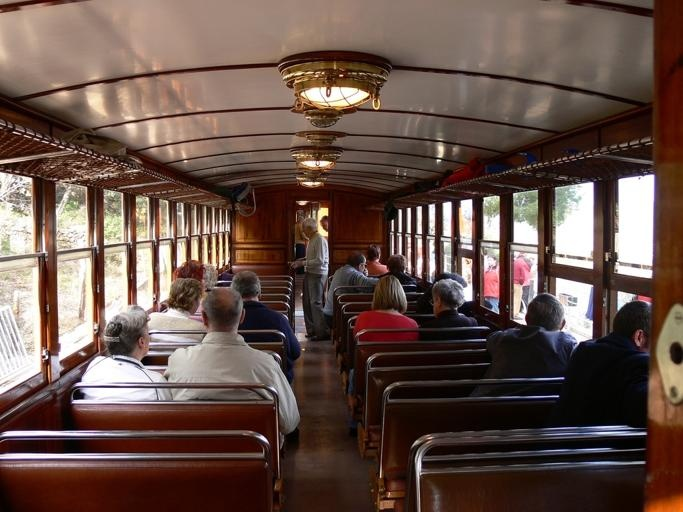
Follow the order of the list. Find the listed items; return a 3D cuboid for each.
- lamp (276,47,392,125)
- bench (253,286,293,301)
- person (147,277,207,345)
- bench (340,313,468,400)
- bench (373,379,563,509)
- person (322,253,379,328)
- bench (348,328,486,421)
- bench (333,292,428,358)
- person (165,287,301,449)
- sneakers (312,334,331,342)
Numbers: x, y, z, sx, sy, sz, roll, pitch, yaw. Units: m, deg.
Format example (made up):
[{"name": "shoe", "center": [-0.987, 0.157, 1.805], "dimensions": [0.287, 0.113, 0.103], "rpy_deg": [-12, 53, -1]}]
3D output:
[{"name": "lamp", "center": [-0.094, -1.053, 3.640], "dimensions": [0.680, 0.265, 0.768], "rpy_deg": [2, -3, -23]}, {"name": "bench", "center": [-0.979, 0.553, 8.111], "dimensions": [0.374, 0.253, 0.143], "rpy_deg": [1, 19, 0]}, {"name": "person", "center": [-1.519, 0.518, 5.221], "dimensions": [0.440, 0.975, 0.309], "rpy_deg": [3, 7, 5]}, {"name": "bench", "center": [0.560, 1.061, 5.150], "dimensions": [1.373, 0.937, 0.758], "rpy_deg": [1, 0, -6]}, {"name": "bench", "center": [0.686, 1.003, 2.999], "dimensions": [0.894, 0.605, 0.466], "rpy_deg": [1, -1, -7]}, {"name": "person", "center": [0.153, 0.556, 8.591], "dimensions": [0.831, 1.197, 0.531], "rpy_deg": [5, 13, -10]}, {"name": "bench", "center": [0.777, 0.878, 4.505], "dimensions": [0.875, 0.609, 0.477], "rpy_deg": [-4, -16, 11]}, {"name": "bench", "center": [0.453, 0.845, 7.266], "dimensions": [1.156, 0.841, 0.773], "rpy_deg": [-2, 8, -13]}, {"name": "person", "center": [-0.709, 0.698, 3.809], "dimensions": [0.976, 0.947, 0.531], "rpy_deg": [4, 16, 20]}, {"name": "sneakers", "center": [-0.340, 1.351, 9.336], "dimensions": [0.300, 0.201, 0.106], "rpy_deg": [4, -2, -9]}]
